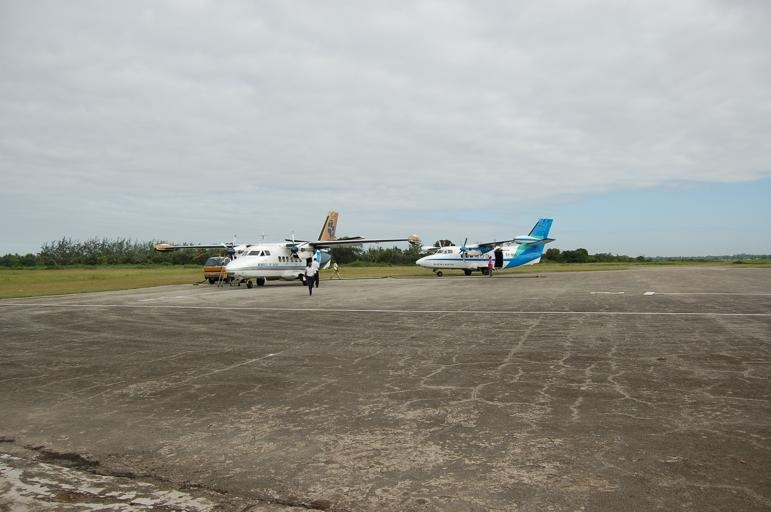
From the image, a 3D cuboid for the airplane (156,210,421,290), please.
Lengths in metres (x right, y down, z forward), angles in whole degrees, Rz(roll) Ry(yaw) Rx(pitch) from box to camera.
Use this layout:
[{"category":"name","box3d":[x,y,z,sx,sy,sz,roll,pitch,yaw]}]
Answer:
[{"category":"airplane","box3d":[-7.662,-0.244,40.062,10.341,5.763,13.121,-3,9,-15]}]

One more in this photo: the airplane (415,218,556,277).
[{"category":"airplane","box3d":[10.075,-0.180,50.695,10.089,2.880,8.790,0,-2,-6]}]
